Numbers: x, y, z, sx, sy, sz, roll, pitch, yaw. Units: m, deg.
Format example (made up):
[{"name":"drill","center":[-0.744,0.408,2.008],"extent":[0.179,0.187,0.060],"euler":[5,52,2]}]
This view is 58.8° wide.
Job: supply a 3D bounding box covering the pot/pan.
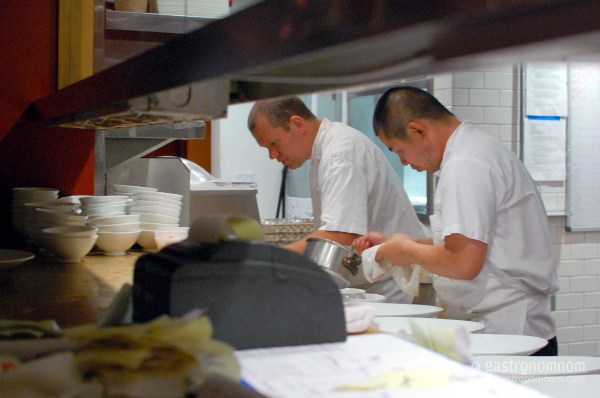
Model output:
[{"name":"pot/pan","center":[0.084,0.173,1.547],"extent":[0.131,0.117,0.170],"euler":[-1,-2,31]}]
